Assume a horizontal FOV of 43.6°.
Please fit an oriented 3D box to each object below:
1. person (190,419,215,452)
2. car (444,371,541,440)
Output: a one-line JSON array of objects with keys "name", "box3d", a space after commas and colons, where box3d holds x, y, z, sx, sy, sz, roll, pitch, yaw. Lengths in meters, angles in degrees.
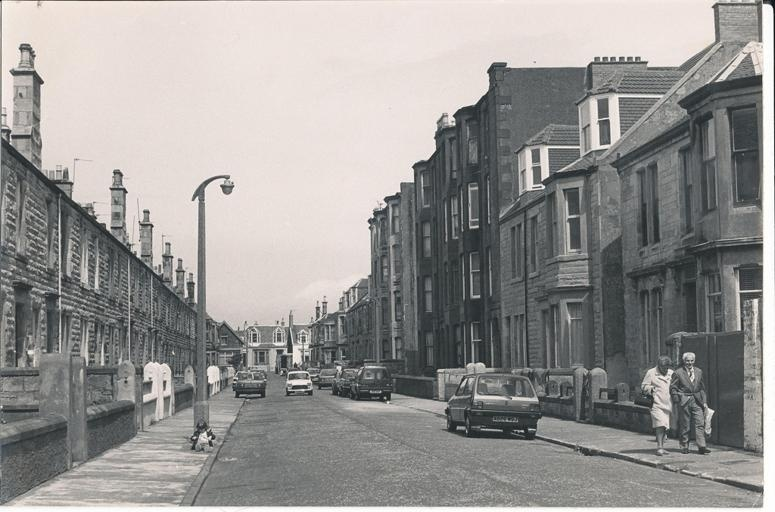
[{"name": "person", "box3d": [-5.677, 5.486, 29.616, 0.825, 1.113, 0.816, 3, -21, -13]}, {"name": "car", "box3d": [3.577, 5.035, 32.908, 3.123, 2.364, 1.884, -9, -15, 23]}]
